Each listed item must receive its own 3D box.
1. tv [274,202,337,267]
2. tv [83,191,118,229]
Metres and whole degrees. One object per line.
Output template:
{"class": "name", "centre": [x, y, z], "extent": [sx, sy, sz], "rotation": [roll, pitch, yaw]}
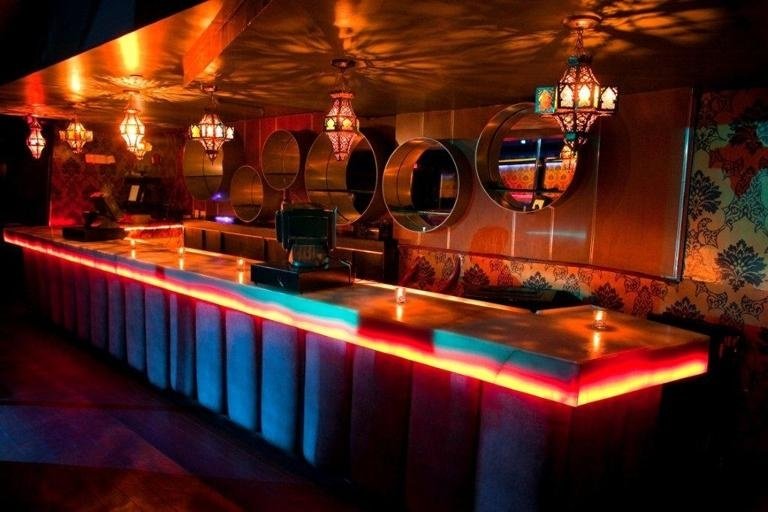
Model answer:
{"class": "tv", "centre": [-0.735, -0.197, 5.678], "extent": [0.526, 0.496, 0.432], "rotation": [0, 9, -19]}
{"class": "tv", "centre": [-3.609, -0.587, 7.809], "extent": [0.588, 0.425, 0.318], "rotation": [11, 14, 41]}
